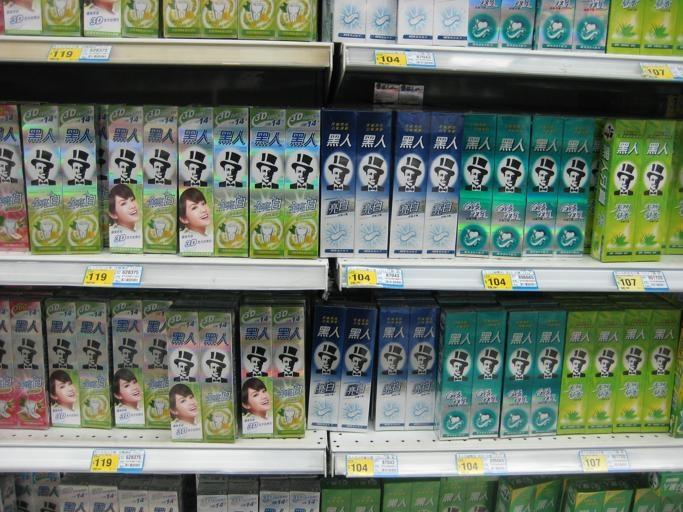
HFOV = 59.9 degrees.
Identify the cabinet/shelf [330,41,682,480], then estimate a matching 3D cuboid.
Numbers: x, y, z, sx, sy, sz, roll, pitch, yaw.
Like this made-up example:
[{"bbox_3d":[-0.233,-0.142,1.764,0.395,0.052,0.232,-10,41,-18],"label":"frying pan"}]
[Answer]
[{"bbox_3d":[0.840,-0.021,2.597,1.861,1.713,0.837,-3,5,-2],"label":"cabinet/shelf"}]
